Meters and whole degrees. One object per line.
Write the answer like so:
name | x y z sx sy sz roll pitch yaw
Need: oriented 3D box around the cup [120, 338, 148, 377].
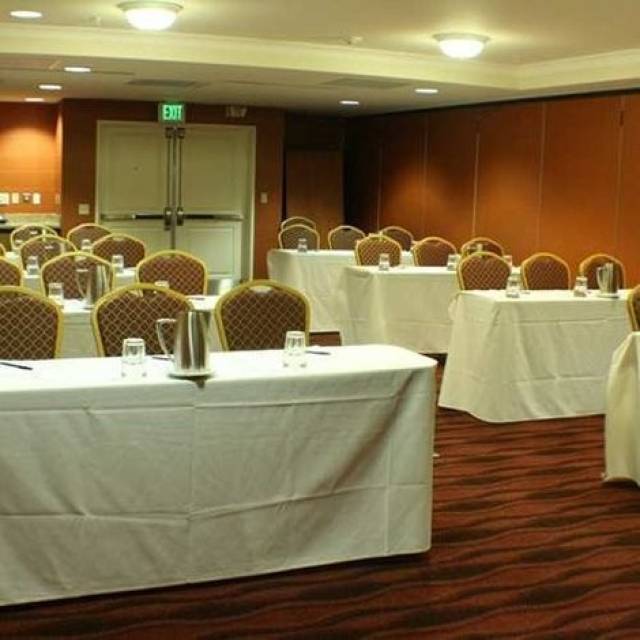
cup | -0.588 0.114 1.872 0.075 0.123 0.103 0 5 -21

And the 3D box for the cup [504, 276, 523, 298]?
cup | 1.438 -0.251 4.369 0.100 0.157 0.297 4 5 18

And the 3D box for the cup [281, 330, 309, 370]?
cup | -0.087 0.105 2.075 0.095 0.160 0.107 2 3 -2
